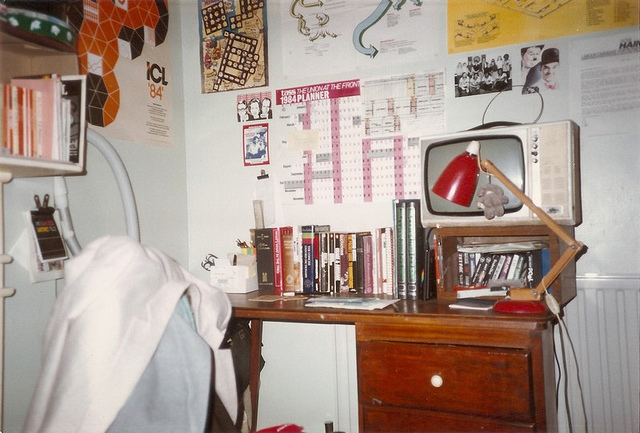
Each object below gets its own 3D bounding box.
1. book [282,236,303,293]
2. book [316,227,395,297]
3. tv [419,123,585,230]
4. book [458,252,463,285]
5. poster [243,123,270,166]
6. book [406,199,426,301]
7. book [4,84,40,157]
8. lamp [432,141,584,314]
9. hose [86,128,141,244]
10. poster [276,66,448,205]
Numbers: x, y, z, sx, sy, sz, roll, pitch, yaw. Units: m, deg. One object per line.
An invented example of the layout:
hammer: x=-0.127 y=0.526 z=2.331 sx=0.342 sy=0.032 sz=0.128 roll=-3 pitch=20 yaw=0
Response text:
book: x=-0.143 y=0.253 z=2.664 sx=0.119 sy=0.293 sz=0.048 roll=2 pitch=5 yaw=9
book: x=0.215 y=0.245 z=2.654 sx=0.324 sy=0.407 sz=0.439 roll=-2 pitch=-3 yaw=21
tv: x=0.854 y=-0.162 z=2.306 sx=0.798 sy=0.527 sz=0.464 roll=-2 pitch=-3 yaw=26
book: x=0.669 y=0.252 z=2.378 sx=0.027 sy=0.152 sz=0.012 roll=5 pitch=7 yaw=39
poster: x=-0.363 y=-0.421 z=2.920 sx=0.252 sy=0.342 sz=0.012 roll=-1 pitch=1 yaw=22
book: x=0.454 y=0.164 z=2.375 sx=0.095 sy=0.460 sz=0.076 roll=2 pitch=5 yaw=8
book: x=-1.196 y=-0.383 z=2.009 sx=0.047 sy=0.275 sz=0.156 roll=4 pitch=6 yaw=31
lamp: x=0.787 y=0.032 z=2.142 sx=0.577 sy=0.704 sz=0.256 roll=4 pitch=6 yaw=34
hose: x=-0.925 y=-0.147 z=2.446 sx=0.268 sy=0.686 sz=0.285 roll=-7 pitch=12 yaw=-38
poster: x=0.262 y=-0.436 z=2.693 sx=0.802 sy=0.534 sz=0.017 roll=-1 pitch=2 yaw=19
